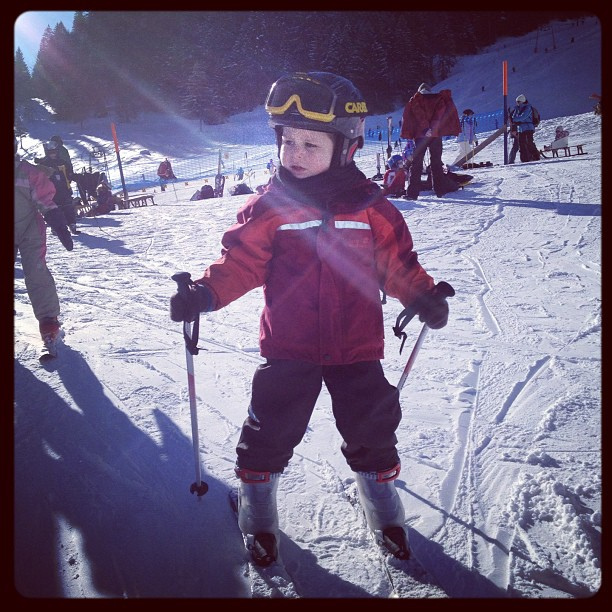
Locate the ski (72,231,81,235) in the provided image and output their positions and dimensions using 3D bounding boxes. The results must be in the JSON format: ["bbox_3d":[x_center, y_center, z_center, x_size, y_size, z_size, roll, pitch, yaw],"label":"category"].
[{"bbox_3d":[-3.725,-1.198,9.850,0.129,0.022,0.109,1,1,-6],"label":"ski"}]

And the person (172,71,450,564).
[{"bbox_3d":[0.032,0.006,2.356,0.967,1.817,0.610,-7,13,-10],"label":"person"}]

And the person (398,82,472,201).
[{"bbox_3d":[1.754,-2.314,8.516,0.862,1.462,0.495,-1,13,12],"label":"person"}]

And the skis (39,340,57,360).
[{"bbox_3d":[-1.704,0.291,4.024,0.103,0.121,0.041,7,-8,14],"label":"skis"}]

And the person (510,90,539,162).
[{"bbox_3d":[4.135,-3.354,11.566,0.491,1.155,1.370,-1,12,18],"label":"person"}]
